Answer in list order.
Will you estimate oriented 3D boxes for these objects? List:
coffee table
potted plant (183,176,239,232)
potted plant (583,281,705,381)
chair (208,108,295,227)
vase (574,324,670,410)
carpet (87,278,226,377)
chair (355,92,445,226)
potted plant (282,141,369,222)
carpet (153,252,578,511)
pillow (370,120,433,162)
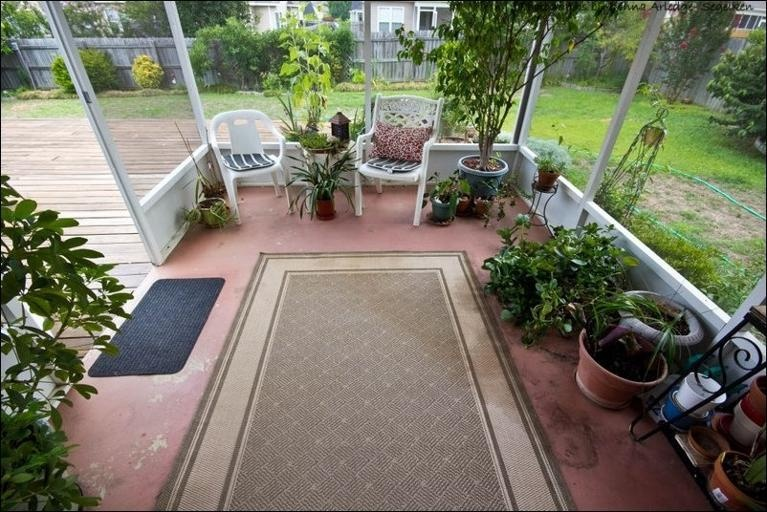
[{"bbox_3d":[-0.572,-0.858,4.511,0.810,0.779,0.632,-6,31,-11],"label":"coffee table"},{"bbox_3d":[-1.724,-0.543,4.342,0.446,0.550,0.572,5,28,-2],"label":"potted plant"},{"bbox_3d":[1.868,0.461,2.818,0.452,0.169,0.456,7,34,4],"label":"potted plant"},{"bbox_3d":[-1.368,-0.940,4.349,0.819,0.939,0.788,6,33,8],"label":"chair"},{"bbox_3d":[1.599,0.805,2.893,0.516,0.348,0.521,40,46,21],"label":"vase"},{"bbox_3d":[-1.729,0.500,3.140,0.566,0.011,0.876,0,39,1],"label":"carpet"},{"bbox_3d":[0.167,-1.036,4.345,0.848,1.069,0.796,4,35,8],"label":"chair"},{"bbox_3d":[-0.650,-0.858,4.432,0.898,0.719,0.817,6,33,3],"label":"potted plant"},{"bbox_3d":[-0.087,0.913,2.902,2.124,0.016,2.249,0,45,0],"label":"carpet"},{"bbox_3d":[0.160,-1.148,4.429,0.773,0.474,0.223,-8,39,-34],"label":"pillow"}]
